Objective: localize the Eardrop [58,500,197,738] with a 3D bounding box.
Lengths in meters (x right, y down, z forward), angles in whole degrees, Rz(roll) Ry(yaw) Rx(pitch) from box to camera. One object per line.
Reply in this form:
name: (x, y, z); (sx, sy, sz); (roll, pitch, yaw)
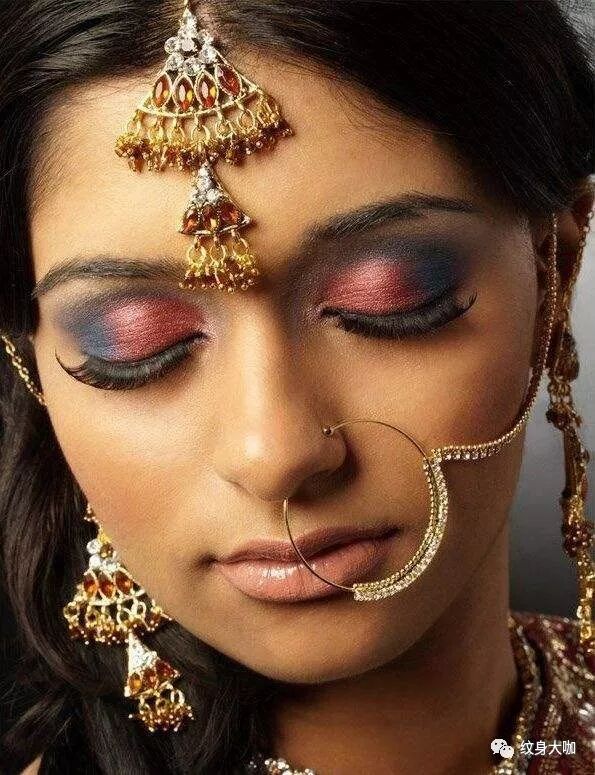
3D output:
Eardrop: (-0.332, 0.447, 1.845); (0.263, 0.057, 0.457); (-25, 82, 29)
